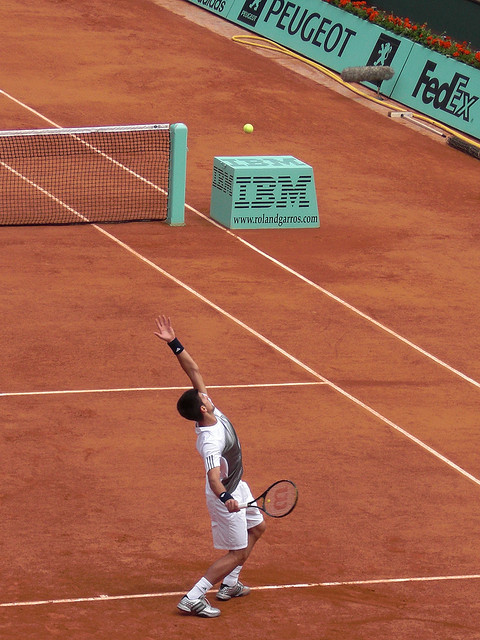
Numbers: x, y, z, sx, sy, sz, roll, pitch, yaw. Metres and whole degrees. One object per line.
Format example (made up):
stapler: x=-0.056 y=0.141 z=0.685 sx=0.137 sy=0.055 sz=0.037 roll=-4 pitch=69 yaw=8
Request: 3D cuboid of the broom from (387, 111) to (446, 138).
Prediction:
broom: x=3.771 y=-4.336 z=23.730 sx=1.508 sy=0.117 sz=0.502 roll=28 pitch=24 yaw=30

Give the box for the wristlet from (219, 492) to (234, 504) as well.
wristlet: x=-0.095 y=1.114 z=6.797 sx=0.073 sy=0.063 sz=0.067 roll=26 pitch=21 yaw=-46
